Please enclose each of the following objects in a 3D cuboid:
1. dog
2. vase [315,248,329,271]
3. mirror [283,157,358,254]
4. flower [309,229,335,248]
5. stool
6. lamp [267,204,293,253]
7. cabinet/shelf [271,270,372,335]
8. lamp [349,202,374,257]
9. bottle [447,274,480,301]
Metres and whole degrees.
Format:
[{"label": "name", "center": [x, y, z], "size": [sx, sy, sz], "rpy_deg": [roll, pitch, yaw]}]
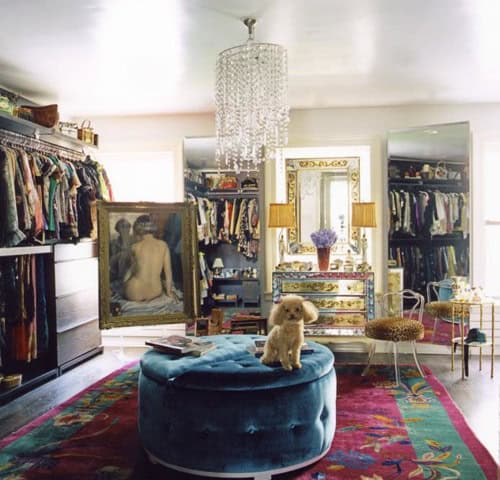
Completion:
[{"label": "dog", "center": [0.210, 0.554, 2.928], "size": [0.268, 0.463, 0.403], "rpy_deg": [0, 0, -25]}, {"label": "vase", "center": [0.804, 0.207, 5.262], "size": [0.133, 0.256, 0.182], "rpy_deg": [-1, 1, 7]}, {"label": "mirror", "center": [0.877, -0.397, 5.567], "size": [1.068, 1.471, 0.052], "rpy_deg": [0, -3, 2]}, {"label": "flower", "center": [0.789, -0.021, 5.181], "size": [0.208, 0.202, 0.219], "rpy_deg": [2, 1, 19]}, {"label": "stool", "center": [-0.078, 1.015, 2.813], "size": [0.730, 0.422, 0.771], "rpy_deg": [0, -3, -1]}, {"label": "lamp", "center": [0.359, -0.252, 5.301], "size": [0.269, 0.311, 0.286], "rpy_deg": [2, 7, 16]}, {"label": "cabinet/shelf", "center": [0.750, 0.606, 4.514], "size": [0.655, 0.536, 0.248], "rpy_deg": [-1, -3, 4]}, {"label": "lamp", "center": [1.255, -0.112, 5.247], "size": [0.250, 0.659, 0.493], "rpy_deg": [0, 1, 16]}, {"label": "bottle", "center": [2.157, 0.490, 4.733], "size": [0.312, 0.328, 0.187], "rpy_deg": [2, -1, 32]}]
